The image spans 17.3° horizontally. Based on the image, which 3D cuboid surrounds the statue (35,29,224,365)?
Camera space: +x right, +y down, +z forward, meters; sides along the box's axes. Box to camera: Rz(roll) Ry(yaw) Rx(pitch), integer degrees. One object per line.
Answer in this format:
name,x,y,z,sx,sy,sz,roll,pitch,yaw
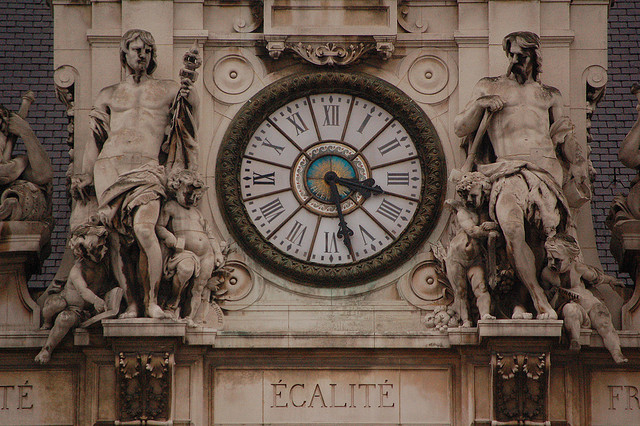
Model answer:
statue,-2.858,-0.517,33.629,2.310,4.521,2.231,2,-34,-4
